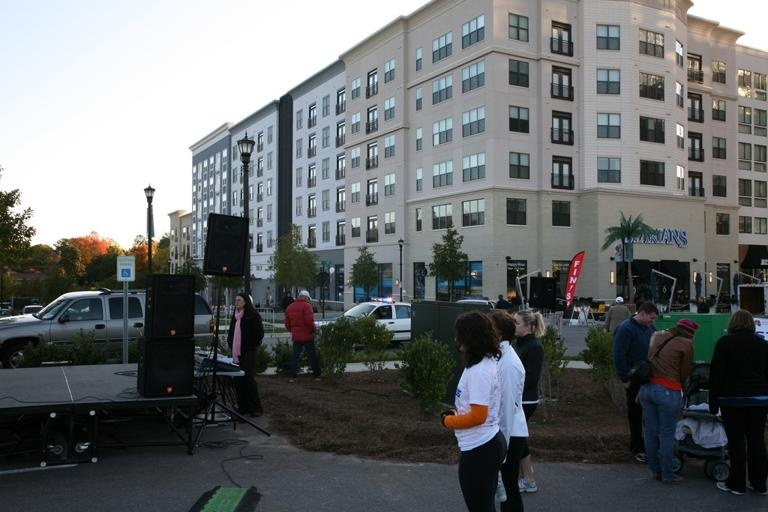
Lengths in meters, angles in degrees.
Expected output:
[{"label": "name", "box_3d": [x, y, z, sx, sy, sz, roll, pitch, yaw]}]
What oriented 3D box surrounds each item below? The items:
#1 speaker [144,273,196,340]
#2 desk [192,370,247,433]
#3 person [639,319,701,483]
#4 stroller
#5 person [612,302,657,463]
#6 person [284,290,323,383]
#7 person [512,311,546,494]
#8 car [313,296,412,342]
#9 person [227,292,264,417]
[{"label": "speaker", "box_3d": [-4.690, 1.128, 17.184, 0.823, 1.714, 0.817, 1, 0, 1]}, {"label": "desk", "box_3d": [-4.233, 3.340, 18.702, 1.455, 1.521, 1.344, 2, 2, 16]}, {"label": "person", "box_3d": [5.901, 3.080, 16.342, 0.947, 3.032, 1.029, 11, 17, 33]}, {"label": "stroller", "box_3d": [6.879, 3.528, 16.801, 1.102, 2.295, 1.188, -3, -1, 11]}, {"label": "person", "box_3d": [5.544, 2.652, 16.754, 1.147, 3.334, 0.975, 0, 1, -7]}, {"label": "person", "box_3d": [-2.253, 2.242, 22.170, 0.846, 2.372, 1.226, 0, 0, 30]}, {"label": "person", "box_3d": [2.972, 2.883, 15.980, 0.685, 3.319, 0.850, 0, 1, -5]}, {"label": "car", "box_3d": [-0.425, 2.699, 30.821, 5.397, 1.784, 2.245, 3, -3, -41]}, {"label": "person", "box_3d": [-3.543, 2.445, 19.763, 0.942, 3.041, 0.840, -7, -8, 32]}]
